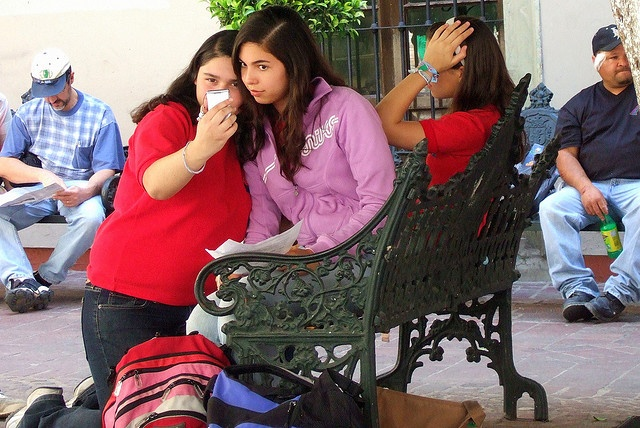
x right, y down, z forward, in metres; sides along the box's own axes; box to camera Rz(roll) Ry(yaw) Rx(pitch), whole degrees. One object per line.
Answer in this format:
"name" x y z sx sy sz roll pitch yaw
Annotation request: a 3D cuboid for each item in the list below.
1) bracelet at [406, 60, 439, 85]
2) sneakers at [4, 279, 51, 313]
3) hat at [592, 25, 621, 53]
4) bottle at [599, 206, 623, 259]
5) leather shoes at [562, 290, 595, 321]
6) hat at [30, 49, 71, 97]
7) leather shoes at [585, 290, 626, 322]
"bracelet" 0.573 -0.772 3.839 0.068 0.109 0.143 -44 -2 16
"sneakers" -2.741 0.753 6.591 0.263 0.193 0.550 25 9 36
"hat" 2.325 -1.446 5.789 0.198 0.236 0.290 -1 4 19
"bottle" 2.365 0.180 5.780 0.166 0.381 0.247 -1 4 23
"leather shoes" 2.032 0.725 5.620 0.327 0.148 0.138 -8 -21 23
"hat" -2.550 -1.334 6.819 0.324 0.271 0.484 1 44 2
"leather shoes" 2.224 0.718 5.517 0.338 0.162 0.146 -4 -39 -49
